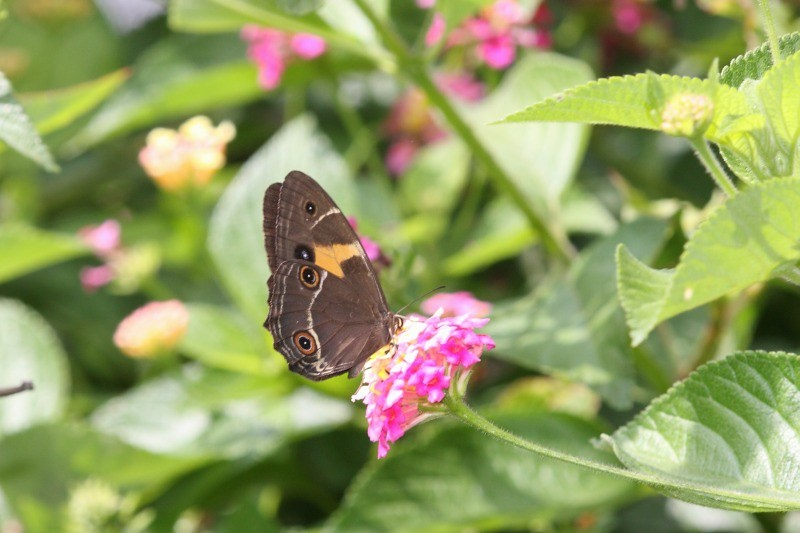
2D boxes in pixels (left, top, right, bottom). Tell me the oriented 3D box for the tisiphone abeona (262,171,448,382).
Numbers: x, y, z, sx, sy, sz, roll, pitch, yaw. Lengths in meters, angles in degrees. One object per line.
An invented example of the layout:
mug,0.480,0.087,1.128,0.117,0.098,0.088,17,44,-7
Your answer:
tisiphone abeona,-0.099,0.024,1.788,0.308,0.467,0.380,2,3,11

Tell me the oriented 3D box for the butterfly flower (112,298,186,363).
butterfly flower,-0.585,0.146,1.946,0.181,0.055,0.218,-20,22,-28

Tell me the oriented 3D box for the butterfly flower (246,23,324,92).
butterfly flower,-0.337,-0.563,2.186,0.191,0.202,0.051,-3,17,-17
